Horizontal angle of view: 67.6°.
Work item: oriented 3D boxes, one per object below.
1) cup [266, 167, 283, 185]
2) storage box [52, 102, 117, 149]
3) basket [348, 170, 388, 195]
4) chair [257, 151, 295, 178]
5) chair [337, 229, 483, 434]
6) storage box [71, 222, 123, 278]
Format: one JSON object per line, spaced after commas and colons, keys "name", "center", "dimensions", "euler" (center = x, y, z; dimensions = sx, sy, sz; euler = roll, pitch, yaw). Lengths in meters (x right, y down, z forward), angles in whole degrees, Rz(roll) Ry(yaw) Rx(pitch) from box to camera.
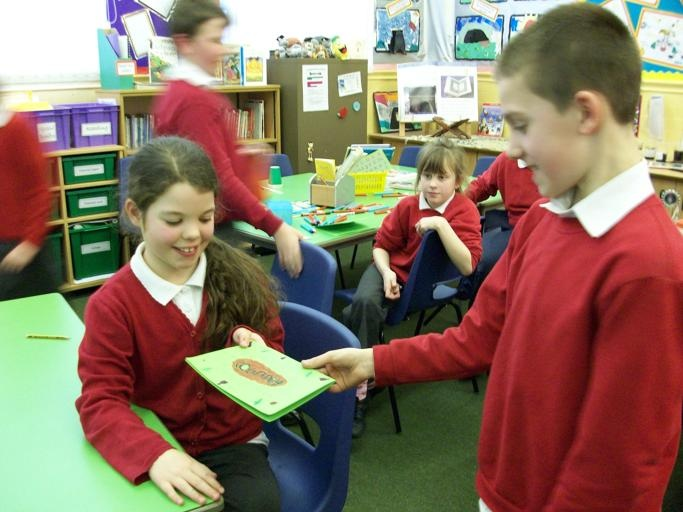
{"name": "cup", "center": [-0.445, -0.550, 3.477], "dimensions": [0.108, 0.117, 0.103], "euler": [-1, 15, 0]}
{"name": "storage box", "center": [-1.798, -0.920, 3.798], "dimensions": [0.433, 0.284, 0.328], "euler": [-6, -5, -6]}
{"name": "basket", "center": [0.186, -0.467, 3.209], "dimensions": [0.133, 0.091, 0.200], "euler": [-13, 14, -39]}
{"name": "chair", "center": [-0.497, -0.736, 4.003], "dimensions": [0.172, 0.285, 0.179], "euler": [-15, 25, -37]}
{"name": "chair", "center": [0.394, 0.264, 2.792], "dimensions": [0.637, 1.049, 0.700], "euler": [-13, 18, -43]}
{"name": "storage box", "center": [-1.871, 0.018, 3.972], "dimensions": [0.382, 0.463, 0.376], "euler": [-5, -28, -17]}
